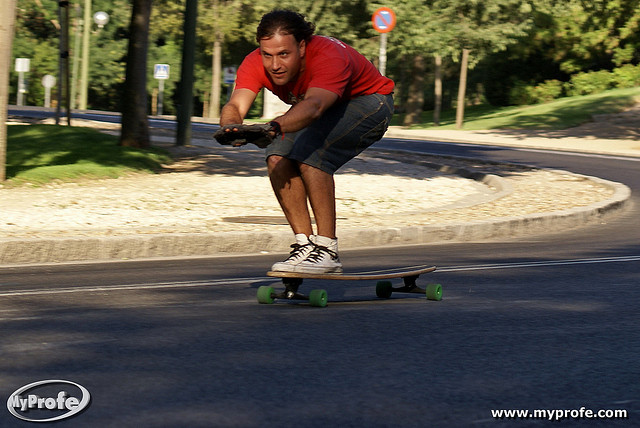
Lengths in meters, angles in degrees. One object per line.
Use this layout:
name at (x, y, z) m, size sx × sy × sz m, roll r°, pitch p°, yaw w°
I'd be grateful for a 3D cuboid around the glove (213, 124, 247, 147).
glove at (-0.563, -0.506, 3.761) m, size 0.203 × 0.135 × 0.226 m, roll 1°, pitch 8°, yaw -7°

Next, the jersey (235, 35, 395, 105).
jersey at (0.179, -1.148, 4.665) m, size 1.023 × 0.339 × 1.414 m, roll 5°, pitch 18°, yaw 38°

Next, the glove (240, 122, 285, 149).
glove at (-0.367, -0.512, 3.792) m, size 0.180 × 0.166 × 0.270 m, roll 6°, pitch 9°, yaw 17°

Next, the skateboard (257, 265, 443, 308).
skateboard at (0.196, 0.531, 4.484) m, size 1.573 × 0.141 × 0.437 m, roll -2°, pitch 2°, yaw -17°
